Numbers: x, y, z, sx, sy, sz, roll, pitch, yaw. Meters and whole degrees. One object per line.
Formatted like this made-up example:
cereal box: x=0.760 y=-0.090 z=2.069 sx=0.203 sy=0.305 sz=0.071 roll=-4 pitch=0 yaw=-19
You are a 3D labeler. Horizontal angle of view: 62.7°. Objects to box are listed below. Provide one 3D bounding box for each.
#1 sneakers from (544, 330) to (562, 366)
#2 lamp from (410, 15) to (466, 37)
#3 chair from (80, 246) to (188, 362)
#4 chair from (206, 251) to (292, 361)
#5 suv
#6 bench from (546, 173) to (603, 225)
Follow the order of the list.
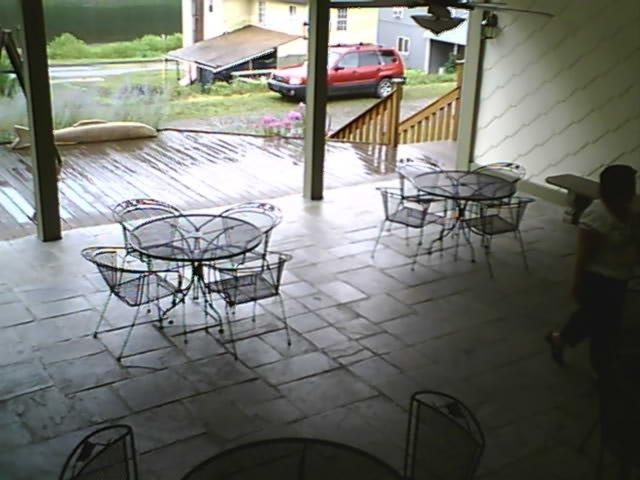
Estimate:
sneakers: x=2.118 y=0.971 z=4.756 sx=0.115 sy=0.283 sz=0.130 roll=-13 pitch=-20 yaw=2
lamp: x=1.000 y=-1.848 z=4.546 sx=0.453 sy=0.153 sz=0.267 roll=7 pitch=24 yaw=10
chair: x=-1.716 y=0.624 z=4.893 sx=0.722 sy=0.738 sz=0.634 roll=-22 pitch=45 yaw=-37
chair: x=-0.674 y=0.646 z=4.903 sx=0.699 sy=0.775 sz=0.615 roll=-13 pitch=43 yaw=-23
suv: x=0.667 y=-4.697 z=14.798 sx=4.007 sy=1.450 sz=0.833 roll=-13 pitch=31 yaw=-32
bench: x=3.258 y=-0.528 z=6.755 sx=0.941 sy=0.394 sz=0.494 roll=-16 pitch=31 yaw=-35
